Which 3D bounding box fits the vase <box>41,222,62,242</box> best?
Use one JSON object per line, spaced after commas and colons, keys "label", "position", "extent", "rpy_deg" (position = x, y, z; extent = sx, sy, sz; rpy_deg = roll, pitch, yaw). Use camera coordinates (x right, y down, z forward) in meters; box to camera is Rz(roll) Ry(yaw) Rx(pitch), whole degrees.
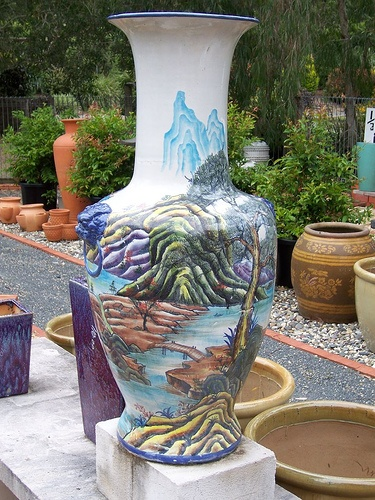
{"label": "vase", "position": [-1.827, -0.250, 8.107], "extent": [0.275, 0.182, 0.257], "rpy_deg": [5, 16, 12]}

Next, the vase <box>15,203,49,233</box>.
{"label": "vase", "position": [-2.276, -0.488, 8.825], "extent": [0.472, 0.300, 0.438], "rpy_deg": [0, 10, 6]}

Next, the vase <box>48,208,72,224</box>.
{"label": "vase", "position": [-1.791, -0.486, 8.281], "extent": [0.249, 0.160, 0.234], "rpy_deg": [6, 13, 14]}
